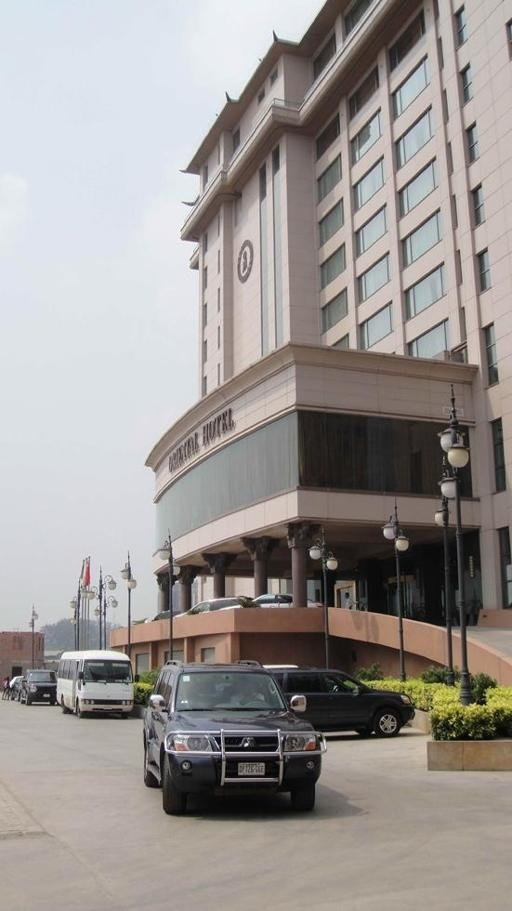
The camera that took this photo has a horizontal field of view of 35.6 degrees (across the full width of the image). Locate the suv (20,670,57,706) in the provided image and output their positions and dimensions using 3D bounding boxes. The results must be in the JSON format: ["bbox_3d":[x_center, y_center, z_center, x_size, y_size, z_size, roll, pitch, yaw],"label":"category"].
[{"bbox_3d":[-12.717,13.650,46.873,1.857,1.966,3.741,4,-29,-18],"label":"suv"}]

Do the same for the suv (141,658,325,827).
[{"bbox_3d":[-0.408,3.271,9.454,1.076,1.158,2.683,2,-25,-9],"label":"suv"}]

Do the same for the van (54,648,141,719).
[{"bbox_3d":[-7.035,9.698,33.938,2.167,2.926,5.329,7,-16,-26],"label":"van"}]
